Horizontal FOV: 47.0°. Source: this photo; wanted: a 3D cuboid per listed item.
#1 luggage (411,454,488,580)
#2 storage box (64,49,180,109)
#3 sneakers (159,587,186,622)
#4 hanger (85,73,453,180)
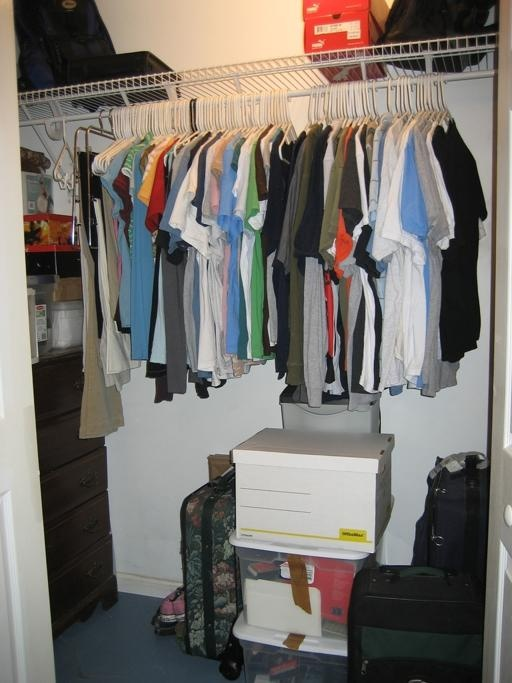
[{"bbox_3d":[0.577,0.522,1.756,0.213,0.356,0.201,0,5,19],"label":"luggage"},{"bbox_3d":[-0.468,-0.895,2.039,0.276,0.114,0.232,-4,8,19],"label":"storage box"},{"bbox_3d":[-0.297,0.948,2.115,0.075,0.047,0.134,-1,4,2],"label":"sneakers"},{"bbox_3d":[0.044,-0.683,1.881,1.100,0.280,0.433,0,6,15],"label":"hanger"}]
